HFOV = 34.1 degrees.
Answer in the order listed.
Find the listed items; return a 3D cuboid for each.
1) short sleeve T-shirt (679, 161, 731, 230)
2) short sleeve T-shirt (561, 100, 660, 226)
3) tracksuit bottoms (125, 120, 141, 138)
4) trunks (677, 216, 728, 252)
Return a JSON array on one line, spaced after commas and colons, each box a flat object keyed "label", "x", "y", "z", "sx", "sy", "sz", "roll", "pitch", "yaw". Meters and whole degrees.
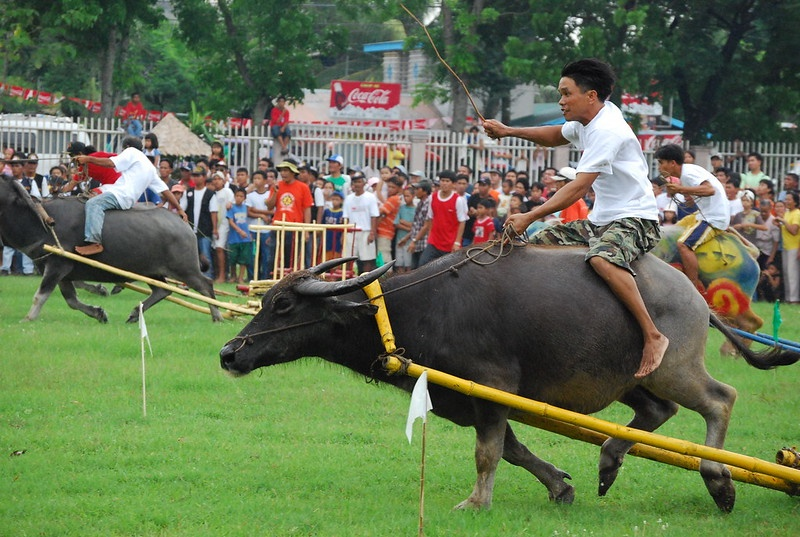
[{"label": "short sleeve T-shirt", "x": 5.437, "y": -1.269, "z": 23.237, "sx": 1.075, "sy": 1.247, "sz": 0.457, "roll": -7, "pitch": 9, "yaw": -29}, {"label": "short sleeve T-shirt", "x": 3.257, "y": -1.585, "z": 19.625, "sx": 1.160, "sy": 1.872, "sz": 0.531, "roll": -3, "pitch": 9, "yaw": 1}, {"label": "tracksuit bottoms", "x": -7.105, "y": -3.761, "z": 34.837, "sx": 0.424, "sy": 0.471, "sz": 1.173, "roll": -4, "pitch": 8, "yaw": -11}, {"label": "trunks", "x": 5.376, "y": -0.676, "z": 23.532, "sx": 0.684, "sy": 0.292, "sz": 0.905, "roll": -20, "pitch": 18, "yaw": 25}]
